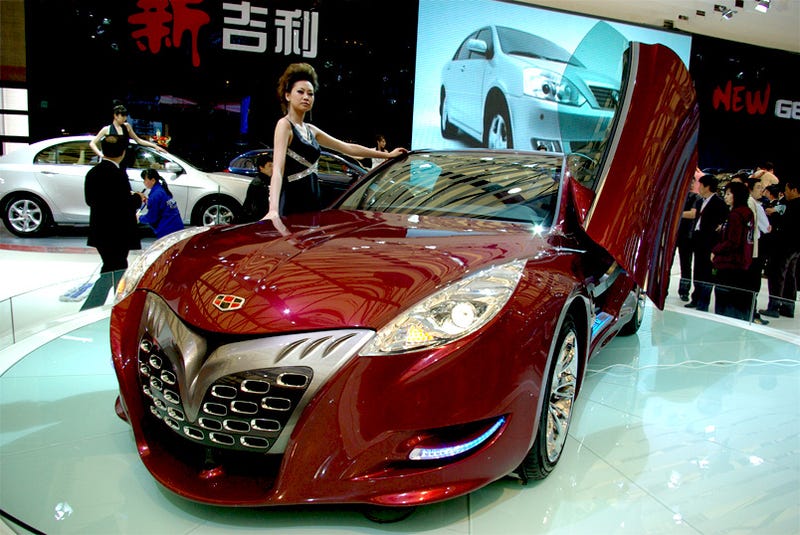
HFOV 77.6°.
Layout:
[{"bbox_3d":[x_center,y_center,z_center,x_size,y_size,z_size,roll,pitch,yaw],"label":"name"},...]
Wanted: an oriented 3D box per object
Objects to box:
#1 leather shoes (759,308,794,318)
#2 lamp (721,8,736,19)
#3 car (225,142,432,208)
[{"bbox_3d":[3.077,0.371,4.078,0.050,0.061,0.145,-12,17,-24],"label":"leather shoes"},{"bbox_3d":[5.627,-4.391,8.632,0.218,0.197,0.373,22,33,25],"label":"lamp"},{"bbox_3d":[-1.185,-1.415,7.406,2.601,0.910,1.162,-4,14,-14],"label":"car"}]
